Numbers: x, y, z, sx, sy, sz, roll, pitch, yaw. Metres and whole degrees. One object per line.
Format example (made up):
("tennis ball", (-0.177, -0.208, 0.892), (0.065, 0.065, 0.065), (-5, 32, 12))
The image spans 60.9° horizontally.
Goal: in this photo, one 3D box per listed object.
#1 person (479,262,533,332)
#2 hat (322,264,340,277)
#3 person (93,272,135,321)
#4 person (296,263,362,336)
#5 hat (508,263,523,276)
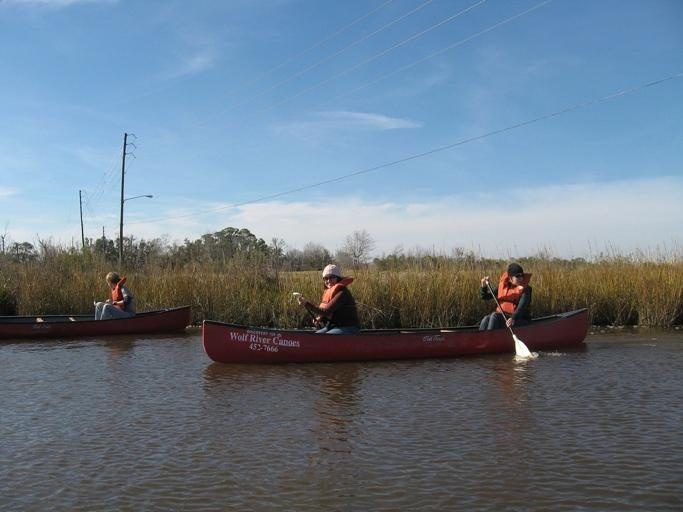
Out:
("person", (3.797, 0.942, 13.310), (0.990, 1.060, 1.828), (-4, 6, 43))
("hat", (-0.188, 0.306, 12.110), (0.231, 0.217, 0.327), (-3, -11, 2))
("person", (-6.301, 1.232, 16.082), (1.103, 1.486, 0.952), (-1, 0, -44))
("person", (-0.264, 0.964, 12.235), (1.343, 1.542, 1.031), (-5, -2, -45))
("hat", (3.958, 0.306, 13.282), (0.247, 0.259, 0.318), (-28, -9, -12))
